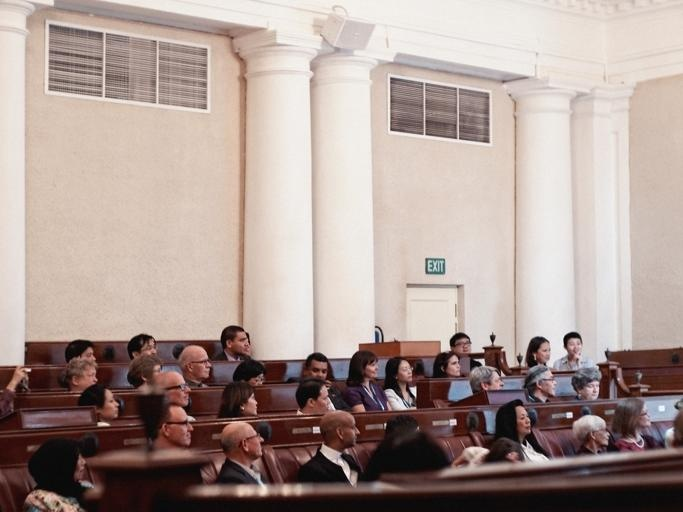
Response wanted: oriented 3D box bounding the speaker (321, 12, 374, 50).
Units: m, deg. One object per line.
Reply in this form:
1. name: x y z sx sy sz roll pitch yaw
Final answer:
1. speaker: 0.101 -3.206 9.895 0.746 0.420 0.484 8 12 -29
